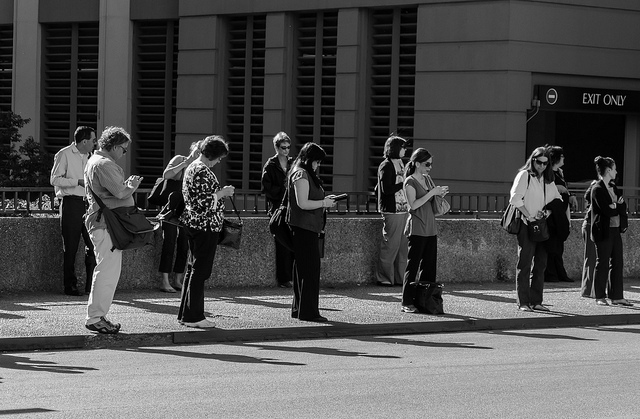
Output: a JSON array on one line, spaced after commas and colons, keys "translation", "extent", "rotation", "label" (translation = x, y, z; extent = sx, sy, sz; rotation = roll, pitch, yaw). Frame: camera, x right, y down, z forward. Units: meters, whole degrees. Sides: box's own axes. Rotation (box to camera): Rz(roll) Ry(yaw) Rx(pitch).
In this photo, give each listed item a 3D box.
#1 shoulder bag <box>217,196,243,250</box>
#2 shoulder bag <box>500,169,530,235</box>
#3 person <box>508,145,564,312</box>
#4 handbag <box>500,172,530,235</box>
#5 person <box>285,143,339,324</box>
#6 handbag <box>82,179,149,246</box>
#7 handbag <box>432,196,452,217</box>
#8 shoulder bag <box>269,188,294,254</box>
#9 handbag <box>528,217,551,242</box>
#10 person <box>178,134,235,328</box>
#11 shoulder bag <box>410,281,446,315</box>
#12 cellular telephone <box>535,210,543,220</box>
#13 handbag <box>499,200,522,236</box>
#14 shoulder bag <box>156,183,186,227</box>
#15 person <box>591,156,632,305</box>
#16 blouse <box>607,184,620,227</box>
[{"translation": [-1.521, 0.250, 21.287], "extent": [0.427, 0.866, 0.407], "rotation": [-1, -2, -12], "label": "shoulder bag"}, {"translation": [3.488, -0.108, 22.465], "extent": [0.512, 1.021, 0.452], "rotation": [0, 1, 7], "label": "shoulder bag"}, {"translation": [3.829, 0.364, 22.514], "extent": [0.933, 2.999, 0.480], "rotation": [1, 0, -9], "label": "person"}, {"translation": [3.444, 0.129, 22.428], "extent": [0.224, 0.659, 0.278], "rotation": [-24, 60, -28], "label": "handbag"}, {"translation": [-0.188, 0.417, 21.288], "extent": [0.764, 3.010, 0.529], "rotation": [1, 0, 1], "label": "person"}, {"translation": [-3.312, -0.039, 20.795], "extent": [0.903, 1.365, 1.048], "rotation": [-8, -3, 22], "label": "handbag"}, {"translation": [2.207, -0.041, 22.939], "extent": [0.237, 0.354, 0.418], "rotation": [-22, -3, 35], "label": "handbag"}, {"translation": [-0.706, 0.255, 22.419], "extent": [0.467, 1.029, 0.389], "rotation": [2, 0, 0], "label": "shoulder bag"}, {"translation": [3.912, 0.373, 22.403], "extent": [0.423, 0.424, 0.191], "rotation": [1, 0, -37], "label": "handbag"}, {"translation": [-1.919, 0.378, 20.755], "extent": [0.742, 3.086, 0.366], "rotation": [1, 0, -4], "label": "person"}, {"translation": [1.927, 1.585, 22.216], "extent": [0.443, 0.455, 0.699], "rotation": [6, -2, -25], "label": "shoulder bag"}, {"translation": [3.878, 0.089, 22.360], "extent": [0.035, 0.113, 0.122], "rotation": [26, -4, -16], "label": "cellular telephone"}, {"translation": [3.439, 0.153, 22.539], "extent": [0.296, 0.644, 0.499], "rotation": [1, 0, -5], "label": "handbag"}, {"translation": [-2.501, -0.006, 21.011], "extent": [0.226, 0.531, 0.463], "rotation": [10, 1, 27], "label": "shoulder bag"}, {"translation": [5.329, 0.407, 23.117], "extent": [0.720, 2.779, 0.509], "rotation": [1, 0, 12], "label": "person"}, {"translation": [5.363, -0.045, 23.020], "extent": [0.236, 0.762, 0.106], "rotation": [1, 0, -39], "label": "blouse"}]
